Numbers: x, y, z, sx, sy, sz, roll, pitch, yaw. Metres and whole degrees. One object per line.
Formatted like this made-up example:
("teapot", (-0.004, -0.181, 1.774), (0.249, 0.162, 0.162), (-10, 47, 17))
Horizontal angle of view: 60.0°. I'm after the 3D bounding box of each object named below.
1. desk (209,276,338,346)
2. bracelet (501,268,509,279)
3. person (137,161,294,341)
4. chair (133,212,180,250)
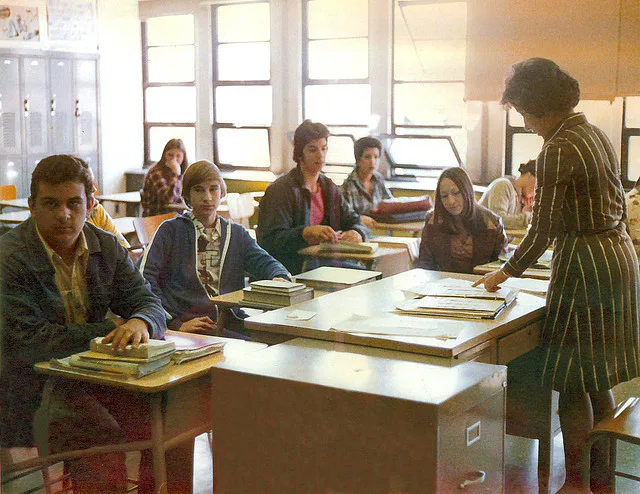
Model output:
("desk", (-0.250, 0.208, 2.152), (0.278, 0.305, 0.346), (3, 9, 18))
("bracelet", (0.595, 0.084, 1.787), (0.011, 0.028, 0.021), (-31, 18, -3))
("person", (-0.470, -0.020, 2.603), (0.680, 0.794, 0.648), (8, 10, 38))
("chair", (-0.776, -0.071, 2.528), (0.175, 0.264, 0.186), (-2, -2, -25))
